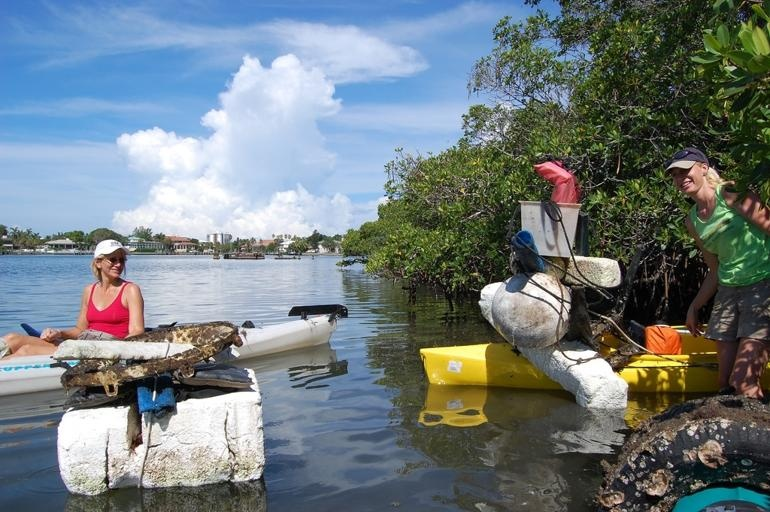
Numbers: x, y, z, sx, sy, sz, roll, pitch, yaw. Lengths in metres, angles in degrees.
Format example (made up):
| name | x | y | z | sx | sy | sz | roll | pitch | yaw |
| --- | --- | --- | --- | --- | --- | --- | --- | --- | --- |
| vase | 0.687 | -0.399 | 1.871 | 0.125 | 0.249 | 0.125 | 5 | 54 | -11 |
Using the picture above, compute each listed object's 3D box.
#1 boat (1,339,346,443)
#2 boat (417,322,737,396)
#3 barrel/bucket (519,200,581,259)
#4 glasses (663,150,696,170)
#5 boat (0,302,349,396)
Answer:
| name | x | y | z | sx | sy | sz | roll | pitch | yaw |
| --- | --- | --- | --- | --- | --- | --- | --- | --- | --- |
| boat | -3.882 | 2.178 | 12.643 | 6.588 | 0.917 | 1.462 | -6 | 10 | -38 |
| boat | 2.914 | 1.871 | 10.350 | 5.072 | 0.828 | 1.591 | 1 | -3 | 6 |
| barrel/bucket | 2.320 | -0.360 | 9.299 | 0.953 | 0.778 | 0.731 | 3 | -4 | -15 |
| glasses | 3.483 | -1.123 | 7.339 | 0.314 | 0.168 | 0.215 | -5 | -22 | -32 |
| boat | -3.143 | 1.556 | 13.692 | 1.808 | 1.156 | 8.909 | 2 | 0 | 37 |
